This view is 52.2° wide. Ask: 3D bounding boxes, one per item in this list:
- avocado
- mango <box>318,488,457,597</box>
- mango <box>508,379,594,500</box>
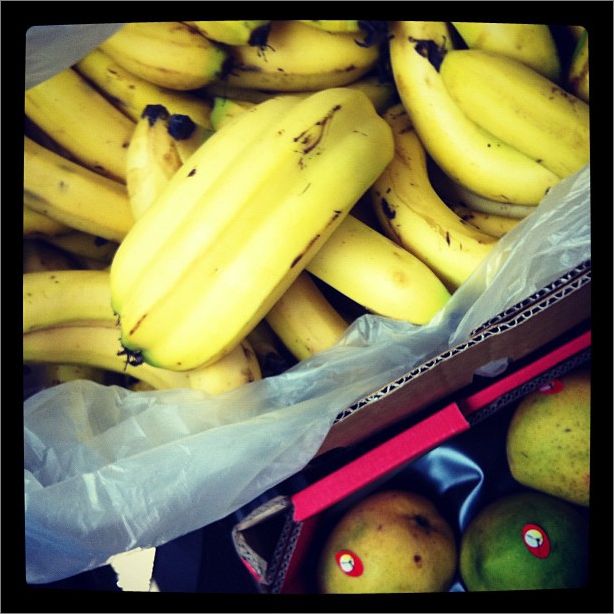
[{"bbox_3d":[0.245,0.264,0.708,0.143,0.063,0.101,-3,60,5],"label":"avocado"},{"bbox_3d":[0.089,0.267,0.688,0.114,0.119,0.144,7,97,28],"label":"mango"},{"bbox_3d":[0.276,0.154,0.715,0.081,0.098,0.128,1,60,7],"label":"mango"}]
